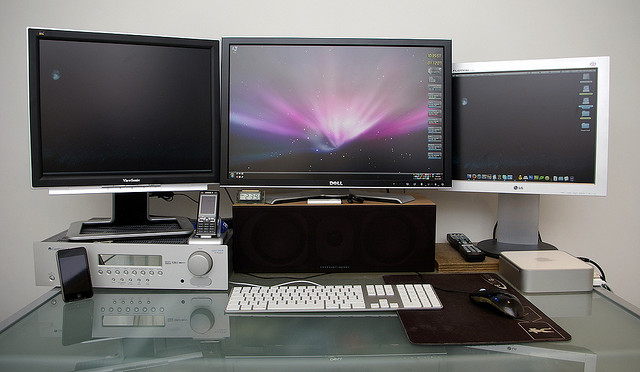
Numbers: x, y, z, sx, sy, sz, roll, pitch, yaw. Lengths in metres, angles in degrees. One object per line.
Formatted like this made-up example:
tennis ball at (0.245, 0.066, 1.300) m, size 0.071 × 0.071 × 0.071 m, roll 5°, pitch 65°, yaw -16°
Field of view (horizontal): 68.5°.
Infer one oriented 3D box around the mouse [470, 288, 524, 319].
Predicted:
mouse at (0.714, 0.455, 1.903) m, size 0.103 × 0.048 × 0.164 m, roll 0°, pitch 11°, yaw -37°

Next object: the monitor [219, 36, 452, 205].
monitor at (0.064, -0.327, 2.136) m, size 0.883 × 0.556 × 0.236 m, roll 0°, pitch 3°, yaw 0°

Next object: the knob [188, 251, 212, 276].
knob at (-0.507, 0.320, 1.982) m, size 0.107 × 0.092 × 0.051 m, roll -6°, pitch 8°, yaw -6°

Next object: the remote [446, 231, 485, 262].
remote at (0.692, 0.291, 2.238) m, size 0.104 × 0.131 × 0.195 m, roll -2°, pitch -7°, yaw -5°

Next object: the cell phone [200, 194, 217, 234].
cell phone at (-0.486, 0.120, 2.062) m, size 0.072 × 0.179 × 0.064 m, roll -2°, pitch -8°, yaw -9°

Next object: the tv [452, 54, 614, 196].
tv at (0.967, -0.276, 2.157) m, size 0.752 × 0.539 × 0.049 m, roll 0°, pitch 3°, yaw 8°

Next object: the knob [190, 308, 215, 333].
knob at (-0.473, 0.539, 1.889) m, size 0.081 × 0.080 × 0.097 m, roll 3°, pitch -9°, yaw -38°

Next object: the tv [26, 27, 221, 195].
tv at (-0.875, -0.332, 2.060) m, size 0.880 × 0.662 × 0.084 m, roll 0°, pitch -1°, yaw -7°
